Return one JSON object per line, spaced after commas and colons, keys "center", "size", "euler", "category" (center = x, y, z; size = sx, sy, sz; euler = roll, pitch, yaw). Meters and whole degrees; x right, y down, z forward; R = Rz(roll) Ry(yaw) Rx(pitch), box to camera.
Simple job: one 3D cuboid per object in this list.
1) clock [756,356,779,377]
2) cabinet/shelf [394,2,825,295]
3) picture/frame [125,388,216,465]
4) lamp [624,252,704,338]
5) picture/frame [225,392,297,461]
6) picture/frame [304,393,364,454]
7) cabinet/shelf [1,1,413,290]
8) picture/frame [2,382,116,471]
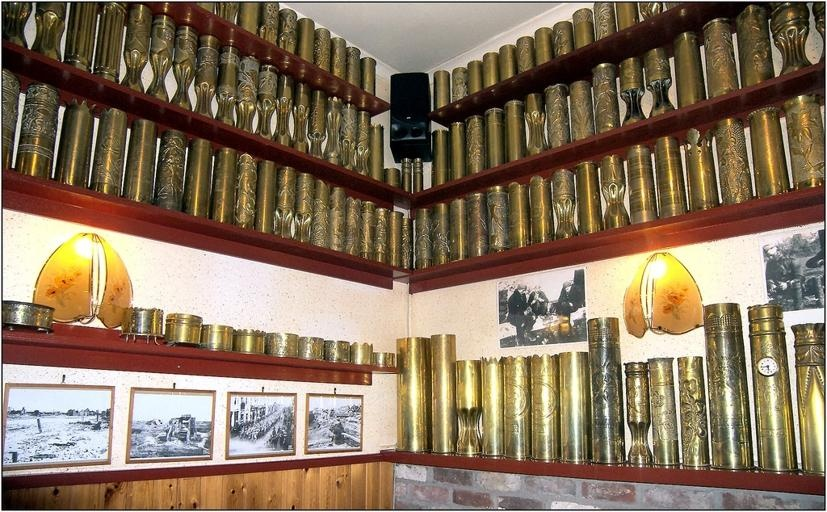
{"center": [1.786, 0.554, 3.160], "size": [0.105, 0.099, 0.024], "euler": [-3, -8, 33], "category": "clock"}
{"center": [1.239, -0.630, 3.792], "size": [1.959, 0.916, 0.320], "euler": [-13, -23, 40], "category": "cabinet/shelf"}
{"center": [-1.372, 0.951, 3.484], "size": [0.472, 0.407, 0.045], "euler": [8, -18, -37], "category": "picture/frame"}
{"center": [1.445, 0.277, 3.722], "size": [0.465, 0.527, 0.495], "euler": [-9, -16, 39], "category": "lamp"}
{"center": [-0.937, 1.025, 3.763], "size": [0.434, 0.343, 0.036], "euler": [12, -19, -37], "category": "picture/frame"}
{"center": [-0.535, 1.085, 4.048], "size": [0.421, 0.329, 0.043], "euler": [13, -19, -40], "category": "picture/frame"}
{"center": [-1.271, -0.638, 3.686], "size": [1.917, 0.918, 0.256], "euler": [17, -22, -39], "category": "cabinet/shelf"}
{"center": [-1.845, 0.879, 3.212], "size": [0.505, 0.395, 0.035], "euler": [9, -17, -37], "category": "picture/frame"}
